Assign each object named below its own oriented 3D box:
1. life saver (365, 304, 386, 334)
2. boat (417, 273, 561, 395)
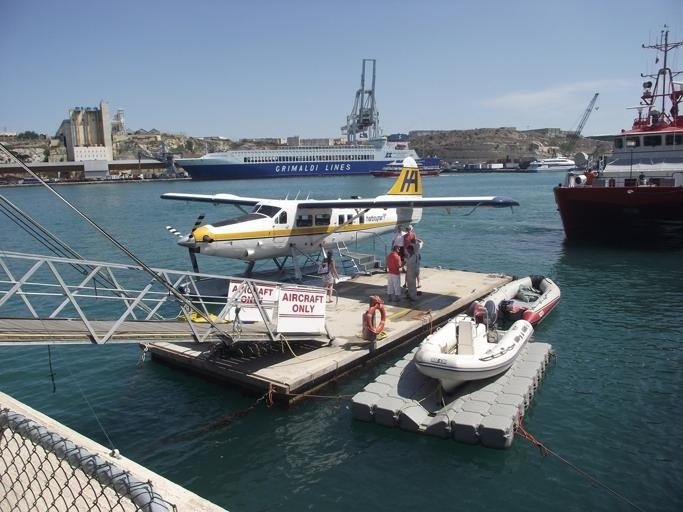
[{"bbox_3d":[1.106,2.105,19.257,0.548,1.081,1.198,1,13,10],"label":"life saver"},{"bbox_3d":[5.365,2.134,19.341,2.610,1.187,7.979,12,25,34],"label":"boat"}]
